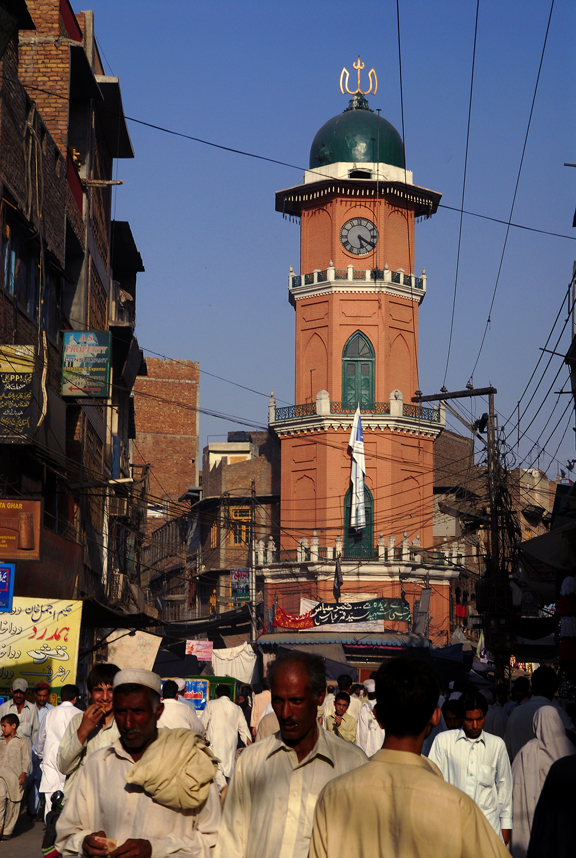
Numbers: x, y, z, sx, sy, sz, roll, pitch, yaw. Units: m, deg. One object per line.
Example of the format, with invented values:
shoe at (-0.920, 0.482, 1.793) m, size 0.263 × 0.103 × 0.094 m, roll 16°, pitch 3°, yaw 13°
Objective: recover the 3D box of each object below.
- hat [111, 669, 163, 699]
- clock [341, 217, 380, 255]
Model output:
hat at (-0.584, 0.989, 5.851) m, size 0.241 × 0.102 × 0.228 m, roll 10°, pitch -19°, yaw -26°
clock at (2.359, -6.236, 47.960) m, size 0.921 × 1.214 × 0.075 m, roll 0°, pitch -7°, yaw 10°
